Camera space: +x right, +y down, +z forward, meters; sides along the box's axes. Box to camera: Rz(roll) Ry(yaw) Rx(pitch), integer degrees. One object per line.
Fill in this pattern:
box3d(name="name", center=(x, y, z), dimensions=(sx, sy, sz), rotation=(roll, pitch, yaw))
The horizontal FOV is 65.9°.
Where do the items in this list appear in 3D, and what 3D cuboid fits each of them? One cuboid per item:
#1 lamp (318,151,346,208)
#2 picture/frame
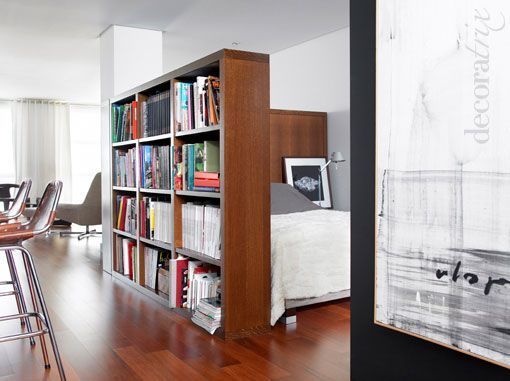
box3d(name="lamp", center=(1.076, -0.135, 5.461), dimensions=(0.352, 0.773, 0.788), rotation=(0, 2, 1))
box3d(name="picture/frame", center=(0.681, -0.096, 5.335), dimensions=(0.698, 0.859, 0.056), rotation=(-3, -6, -17))
